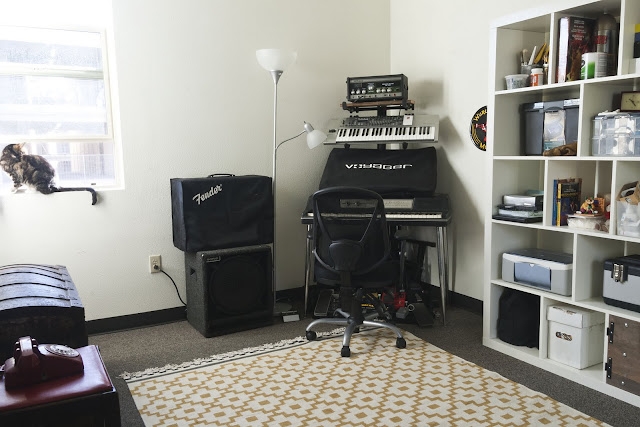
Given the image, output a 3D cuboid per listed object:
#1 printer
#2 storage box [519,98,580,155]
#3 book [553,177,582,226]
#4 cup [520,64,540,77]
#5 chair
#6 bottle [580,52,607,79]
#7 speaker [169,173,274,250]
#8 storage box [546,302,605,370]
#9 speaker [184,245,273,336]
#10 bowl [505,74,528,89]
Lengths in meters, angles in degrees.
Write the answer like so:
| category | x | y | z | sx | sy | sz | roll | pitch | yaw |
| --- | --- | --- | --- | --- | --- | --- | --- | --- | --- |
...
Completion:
| category | x | y | z | sx | sy | sz | roll | pitch | yaw |
| --- | --- | --- | --- | --- | --- | --- | --- | --- | --- |
| printer | 1.528 | 0.396 | 3.470 | 0.289 | 0.203 | 0.423 | -2 | 4 | -38 |
| storage box | 1.615 | -0.609 | 3.446 | 0.258 | 0.427 | 0.457 | -4 | 4 | -38 |
| book | 1.676 | -0.075 | 3.369 | 0.316 | 0.408 | 0.072 | -3 | 7 | -32 |
| cup | 1.497 | -1.025 | 3.546 | 0.088 | 0.062 | 0.089 | 1 | 10 | 0 |
| chair | 0.282 | 0.425 | 3.848 | 0.779 | 1.173 | 0.807 | 1 | 4 | 33 |
| bottle | 1.752 | -0.946 | 3.157 | 0.146 | 0.166 | 0.077 | 4 | 13 | 26 |
| speaker | -0.842 | 0.001 | 4.315 | 1.055 | 0.782 | 0.573 | -2 | 3 | -25 |
| storage box | 1.706 | 0.822 | 3.501 | 0.406 | 0.478 | 0.355 | -2 | 3 | -34 |
| speaker | -0.666 | 0.486 | 4.382 | 0.930 | 0.917 | 0.652 | -2 | 4 | -27 |
| bowl | 1.393 | -0.939 | 3.505 | 0.122 | 0.072 | 0.121 | -1 | 4 | 0 |
